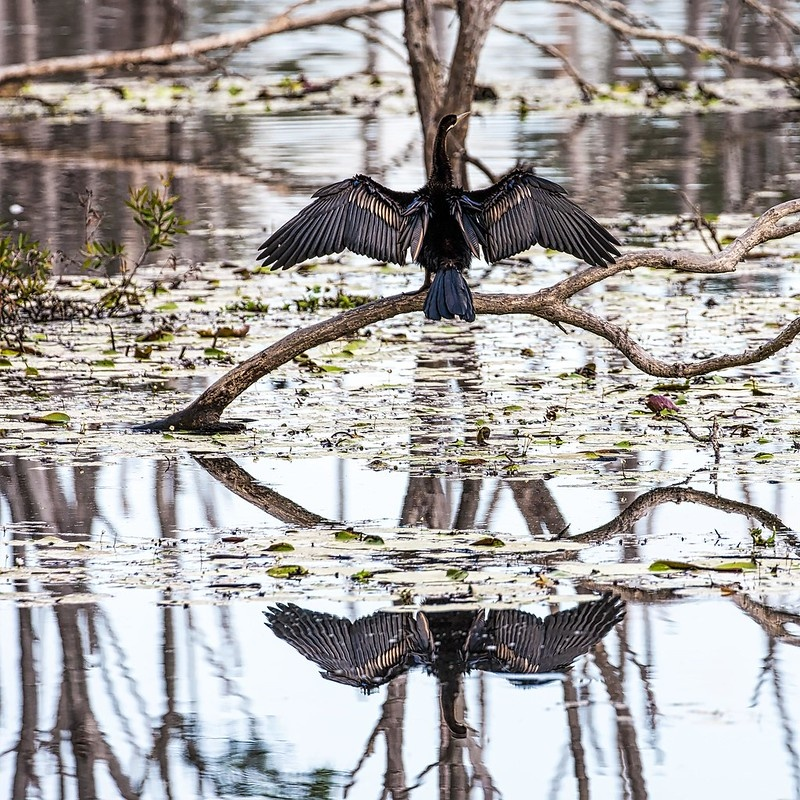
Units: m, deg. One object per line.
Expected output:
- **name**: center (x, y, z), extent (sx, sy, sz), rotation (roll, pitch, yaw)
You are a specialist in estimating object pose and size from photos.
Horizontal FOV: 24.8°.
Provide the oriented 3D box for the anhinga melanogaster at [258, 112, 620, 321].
- **anhinga melanogaster**: center (0.199, -0.701, 7.562), extent (1.489, 0.577, 0.845), rotation (-1, -18, -3)
